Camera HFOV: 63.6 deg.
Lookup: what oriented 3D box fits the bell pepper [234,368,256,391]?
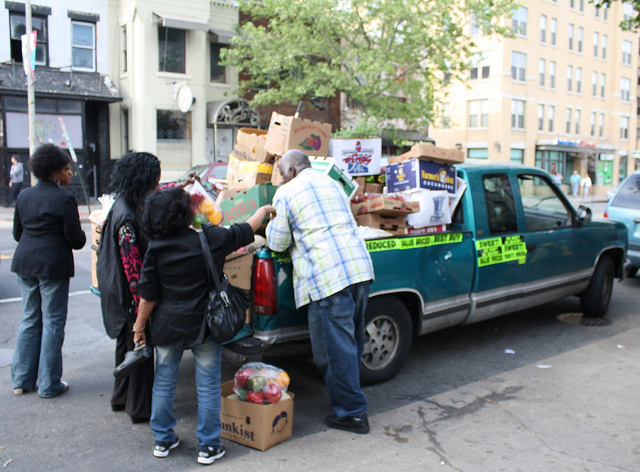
[{"bbox_3d":[-0.628,1.190,4.274,0.196,0.155,0.159,-6,-18,-19],"label":"bell pepper"}]

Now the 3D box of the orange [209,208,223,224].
[{"bbox_3d":[-0.880,-0.170,4.324,0.109,0.109,0.099,13,23,26],"label":"orange"}]

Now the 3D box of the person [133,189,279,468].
[{"bbox_3d":[-0.986,0.698,3.988,0.894,2.102,0.484,-2,10,-14],"label":"person"}]

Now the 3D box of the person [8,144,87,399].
[{"bbox_3d":[-2.676,0.329,5.023,0.756,2.393,0.568,-3,10,-20],"label":"person"}]

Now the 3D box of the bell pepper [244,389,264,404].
[{"bbox_3d":[-0.525,1.297,4.183,0.147,0.059,0.083,-2,-32,39],"label":"bell pepper"}]

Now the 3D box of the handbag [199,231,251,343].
[{"bbox_3d":[-0.707,0.380,3.969,0.378,0.822,0.268,-4,10,-21],"label":"handbag"}]

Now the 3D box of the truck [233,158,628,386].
[{"bbox_3d":[1.263,0.318,6.320,4.875,1.693,2.083,-11,10,-35],"label":"truck"}]

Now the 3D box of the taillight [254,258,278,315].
[{"bbox_3d":[-0.475,0.435,4.484,0.148,0.248,0.422,-3,27,3],"label":"taillight"}]

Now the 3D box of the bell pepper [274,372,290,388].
[{"bbox_3d":[-0.319,1.194,4.306,0.098,0.076,0.114,-2,-2,1],"label":"bell pepper"}]

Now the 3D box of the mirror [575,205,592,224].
[{"bbox_3d":[3.536,-0.274,6.914,0.168,0.236,0.239,8,-13,22],"label":"mirror"}]

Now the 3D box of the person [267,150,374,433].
[{"bbox_3d":[0.067,0.460,4.546,0.933,2.374,0.478,4,10,21],"label":"person"}]
